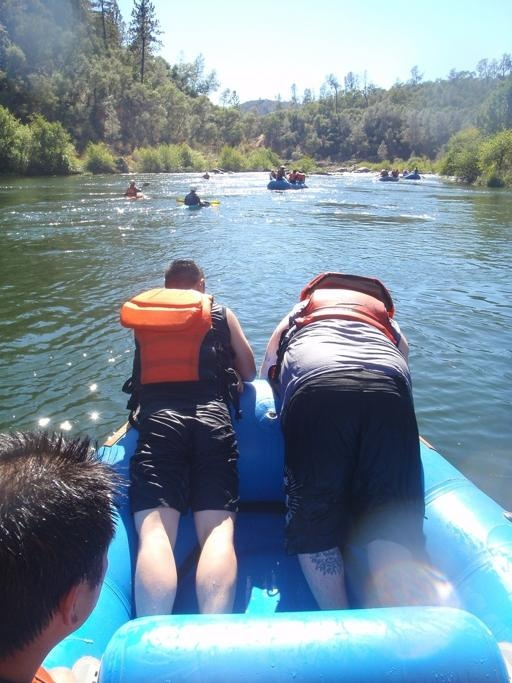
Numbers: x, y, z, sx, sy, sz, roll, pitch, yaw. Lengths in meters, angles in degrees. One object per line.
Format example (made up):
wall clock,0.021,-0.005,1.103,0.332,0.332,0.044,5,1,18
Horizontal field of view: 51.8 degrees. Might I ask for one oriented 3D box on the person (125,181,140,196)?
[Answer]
person,-4.886,-5.983,20.905,0.554,0.619,1.090,2,0,-16
